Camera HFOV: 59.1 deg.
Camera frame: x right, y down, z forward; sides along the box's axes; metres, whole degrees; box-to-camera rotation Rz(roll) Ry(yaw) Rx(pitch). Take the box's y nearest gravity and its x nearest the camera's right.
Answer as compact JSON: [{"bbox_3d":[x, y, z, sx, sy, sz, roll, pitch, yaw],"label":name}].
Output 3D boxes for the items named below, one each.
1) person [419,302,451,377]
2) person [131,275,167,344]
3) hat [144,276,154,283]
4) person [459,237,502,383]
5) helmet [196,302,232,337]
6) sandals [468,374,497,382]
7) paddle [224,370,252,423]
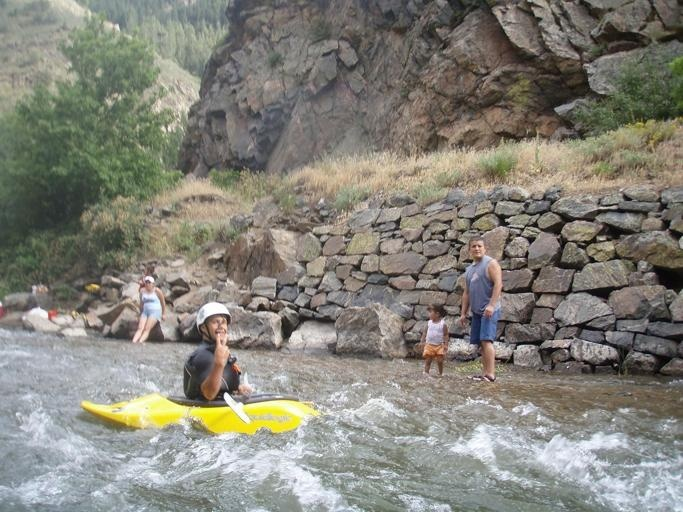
[{"bbox_3d":[1.874,1.649,12.143,0.467,1.215,0.632,3,-1,8],"label":"person"},{"bbox_3d":[-4.891,1.334,15.386,0.748,1.790,0.556,3,-1,-21],"label":"person"},{"bbox_3d":[-4.899,0.579,15.364,0.234,0.158,0.350,5,-2,-20],"label":"hat"},{"bbox_3d":[2.697,0.989,11.677,0.436,2.283,0.931,3,-1,-31],"label":"person"},{"bbox_3d":[-2.082,0.910,9.640,0.379,0.570,0.401,-4,41,-30],"label":"helmet"},{"bbox_3d":[2.647,2.298,11.401,0.392,0.119,0.184,3,-9,20],"label":"sandals"},{"bbox_3d":[-1.534,2.273,9.268,0.124,0.435,0.416,-25,-2,-2],"label":"paddle"}]
